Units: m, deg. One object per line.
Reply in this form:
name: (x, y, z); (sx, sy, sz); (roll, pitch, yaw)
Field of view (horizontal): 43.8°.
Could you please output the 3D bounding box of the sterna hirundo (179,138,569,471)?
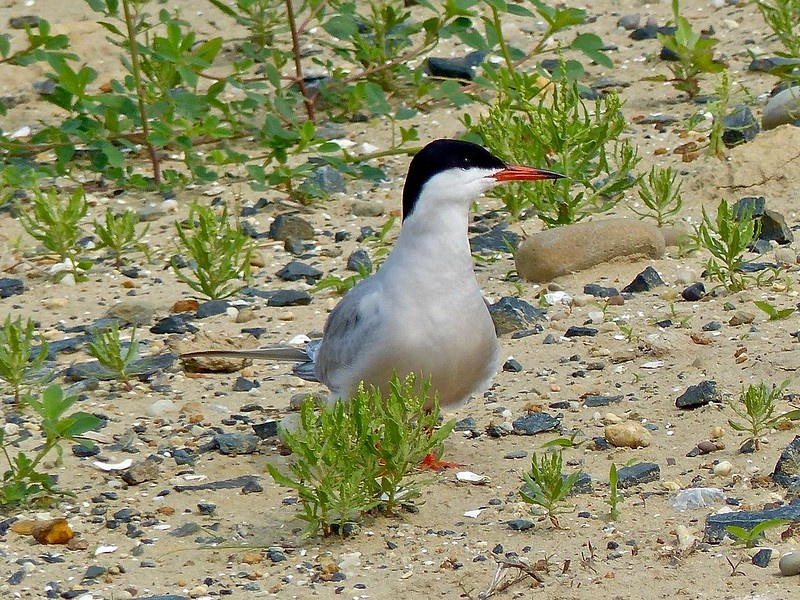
sterna hirundo: (-0.653, -0.112, 4.763); (1.849, 1.321, 1.975); (-4, 19, -10)
